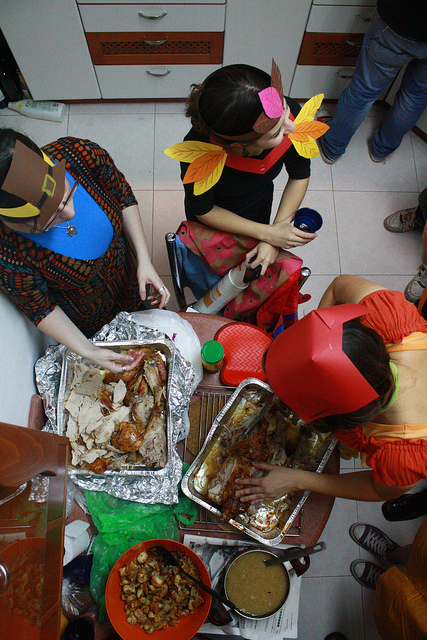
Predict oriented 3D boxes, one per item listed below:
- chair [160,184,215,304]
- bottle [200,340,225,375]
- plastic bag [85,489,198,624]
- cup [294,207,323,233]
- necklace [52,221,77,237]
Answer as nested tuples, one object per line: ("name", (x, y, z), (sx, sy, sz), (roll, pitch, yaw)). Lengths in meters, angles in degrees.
("chair", (-0.046, -0.214, 1.568), (0.213, 0.541, 0.142), (-16, 69, -3))
("bottle", (-0.001, 0.101, 1.195), (0.062, 0.104, 0.083), (-7, 77, -3))
("plastic bag", (-0.157, 0.520, 1.010), (0.246, 0.078, 0.277), (-6, 78, -4))
("cup", (0.287, -0.303, 1.333), (0.083, 0.063, 0.072), (9, 107, 2))
("necklace", (-0.344, -0.209, 1.007), (0.037, 0.094, 0.014), (-51, 126, -24))
